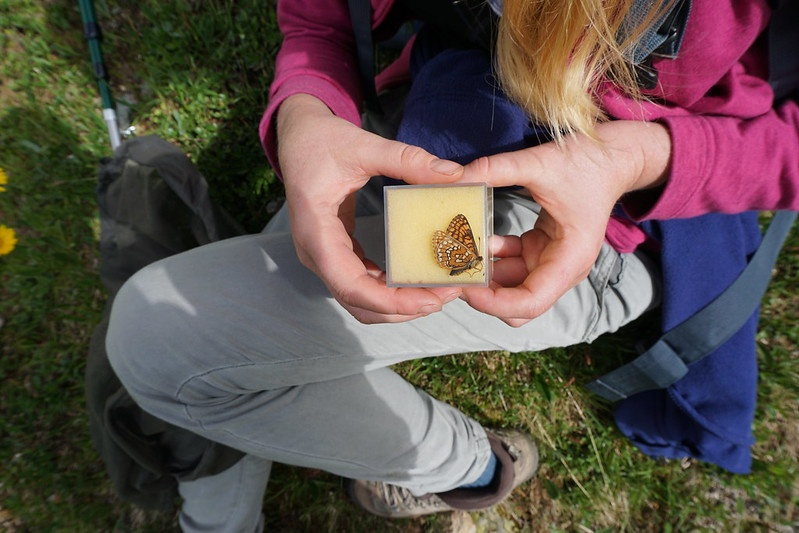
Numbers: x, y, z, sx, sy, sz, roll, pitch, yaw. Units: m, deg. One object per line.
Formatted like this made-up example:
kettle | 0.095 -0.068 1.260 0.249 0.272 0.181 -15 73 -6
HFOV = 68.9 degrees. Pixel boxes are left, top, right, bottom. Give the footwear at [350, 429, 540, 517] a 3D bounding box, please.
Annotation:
footwear | 0.264 1.306 3.699 1.116 0.730 0.423 -2 84 -3

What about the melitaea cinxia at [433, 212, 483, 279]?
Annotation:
melitaea cinxia | 0.279 -0.076 3.026 0.284 0.182 0.274 -45 105 -33

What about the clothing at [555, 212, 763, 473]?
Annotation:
clothing | 1.576 0.382 3.762 1.106 0.529 1.560 4 93 -24
